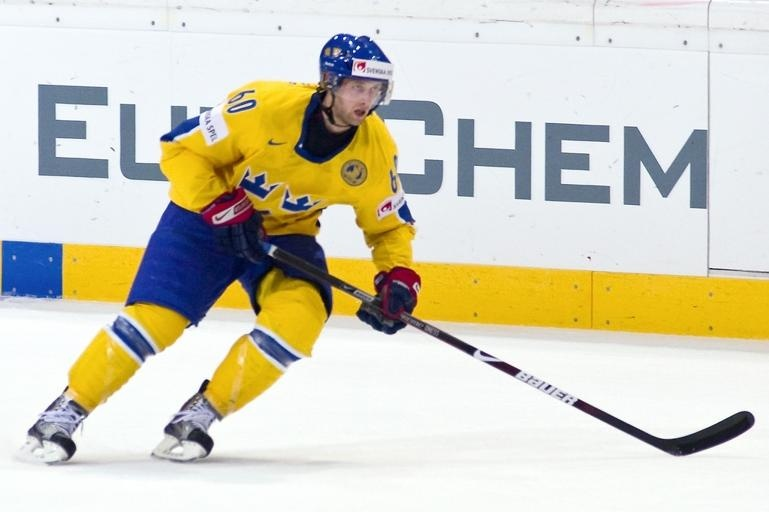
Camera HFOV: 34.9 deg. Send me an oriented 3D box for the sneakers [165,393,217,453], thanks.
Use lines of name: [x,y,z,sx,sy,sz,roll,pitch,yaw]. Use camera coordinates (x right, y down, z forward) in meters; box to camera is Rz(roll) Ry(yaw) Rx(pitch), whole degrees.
sneakers: [-0.911,0.802,5.740,0.235,0.285,0.124,8,2,-4]

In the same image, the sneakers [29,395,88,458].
sneakers: [-1.537,0.801,5.700,0.242,0.276,0.120,9,2,10]

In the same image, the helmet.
helmet: [-0.211,-0.923,6.014,0.405,0.313,0.301,10,-1,2]

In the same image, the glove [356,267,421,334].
glove: [0.023,0.215,6.199,0.264,0.359,0.159,38,-2,-22]
